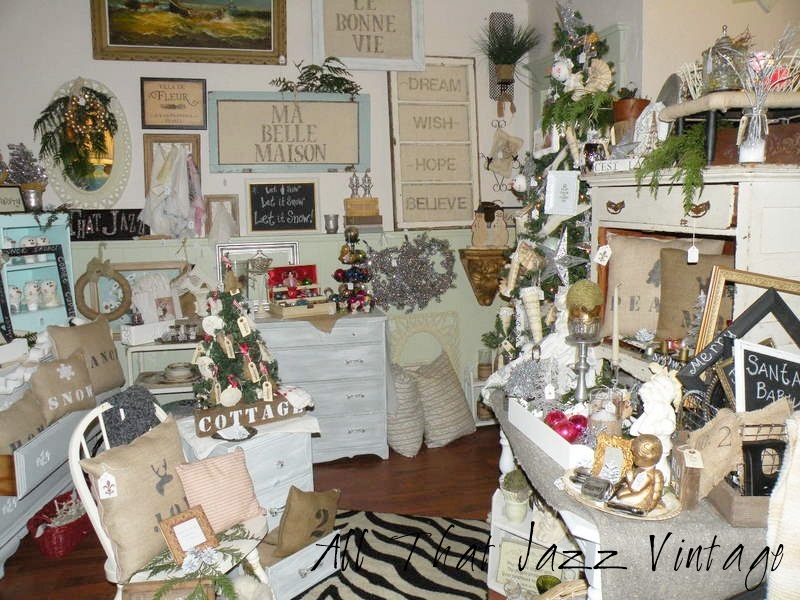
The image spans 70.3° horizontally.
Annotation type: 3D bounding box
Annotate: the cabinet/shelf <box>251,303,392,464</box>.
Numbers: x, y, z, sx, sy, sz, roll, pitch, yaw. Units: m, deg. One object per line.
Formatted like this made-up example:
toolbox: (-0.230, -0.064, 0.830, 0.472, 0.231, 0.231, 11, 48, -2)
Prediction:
cabinet/shelf: (-0.605, 0.616, 4.313, 1.185, 1.287, 0.473, -2, 6, -8)

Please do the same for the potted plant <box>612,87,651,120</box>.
potted plant: (1.368, -1.155, 3.341, 0.195, 0.212, 0.493, 5, 15, 22)

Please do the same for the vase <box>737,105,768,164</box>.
vase: (1.495, -0.694, 2.395, 0.112, 0.228, 0.112, 8, 16, 32)

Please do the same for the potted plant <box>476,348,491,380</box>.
potted plant: (0.847, 0.635, 5.655, 0.147, 0.287, 0.163, 1, 14, 8)

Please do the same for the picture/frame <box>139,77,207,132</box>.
picture/frame: (-2.033, -1.728, 4.990, 0.463, 0.418, 0.050, 0, 1, -9)

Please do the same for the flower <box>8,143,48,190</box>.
flower: (-3.113, -1.121, 4.726, 0.265, 0.369, 0.417, -9, 16, -31)

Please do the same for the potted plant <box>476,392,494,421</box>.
potted plant: (0.792, 1.050, 5.395, 0.181, 0.257, 0.193, 6, 15, 27)

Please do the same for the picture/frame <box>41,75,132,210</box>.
picture/frame: (-2.705, -1.355, 4.913, 0.661, 1.098, 0.255, 0, 14, 3)

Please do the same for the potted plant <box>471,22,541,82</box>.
potted plant: (1.022, -2.377, 5.600, 0.541, 0.608, 0.575, 1, 21, -2)

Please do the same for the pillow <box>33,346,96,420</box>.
pillow: (-2.323, 0.581, 3.886, 0.169, 0.375, 0.457, -32, -15, 24)

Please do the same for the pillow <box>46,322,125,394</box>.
pillow: (-2.385, 0.442, 4.248, 0.159, 0.455, 0.459, -20, 5, 18)

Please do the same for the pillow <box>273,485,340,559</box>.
pillow: (-0.559, 1.288, 3.281, 0.149, 0.353, 0.439, 23, 21, 31)

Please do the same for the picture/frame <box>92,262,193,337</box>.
picture/frame: (-2.288, 0.003, 4.934, 0.603, 0.468, 0.027, -1, 1, 0)

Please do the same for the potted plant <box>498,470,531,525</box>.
potted plant: (0.657, 1.130, 3.402, 0.218, 0.273, 0.231, -9, 26, -13)

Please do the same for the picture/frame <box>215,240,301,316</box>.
picture/frame: (-1.198, -0.174, 4.696, 0.616, 0.569, 0.047, -2, -7, -10)

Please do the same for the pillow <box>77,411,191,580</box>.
pillow: (-1.268, 0.958, 2.741, 0.495, 0.596, 0.384, -12, 17, -37)

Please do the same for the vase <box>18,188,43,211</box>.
vase: (-3.003, -0.815, 4.619, 0.152, 0.182, 0.156, -3, 25, -16)
